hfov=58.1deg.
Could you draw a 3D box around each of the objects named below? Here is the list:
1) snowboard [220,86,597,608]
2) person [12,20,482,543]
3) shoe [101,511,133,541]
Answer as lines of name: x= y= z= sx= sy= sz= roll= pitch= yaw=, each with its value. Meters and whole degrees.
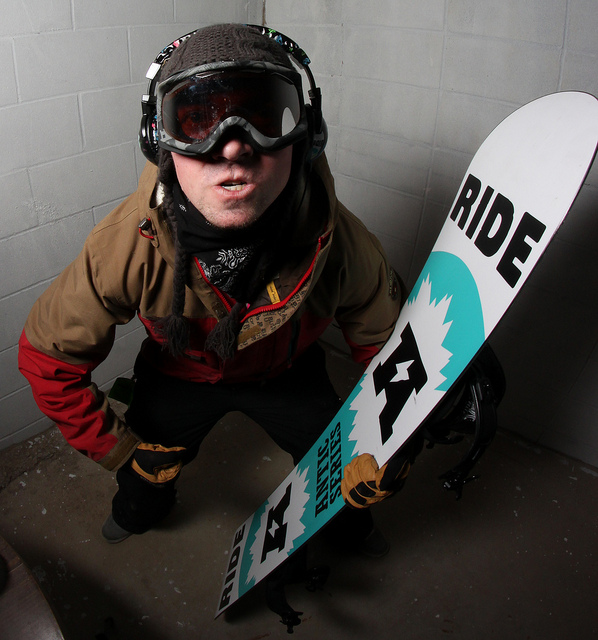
snowboard: x=0.318 y=0.120 z=1.500 sx=0.083 sy=1.887 sz=0.283 roll=22 pitch=27 yaw=-6
person: x=-0.159 y=0.075 z=1.578 sx=1.006 sy=1.663 sz=0.684 roll=10 pitch=29 yaw=3
shoe: x=-0.598 y=0.696 z=1.769 sx=0.091 sy=0.043 sz=0.059 roll=22 pitch=35 yaw=13
